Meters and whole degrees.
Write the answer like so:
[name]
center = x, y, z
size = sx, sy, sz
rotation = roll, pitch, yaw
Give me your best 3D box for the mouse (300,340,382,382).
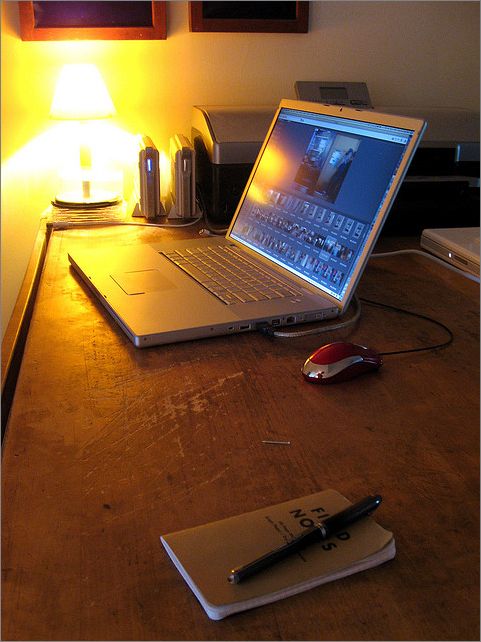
[mouse]
center = 0.107, 0.046, 0.519
size = 0.073, 0.027, 0.040
rotation = -13, 20, -32
